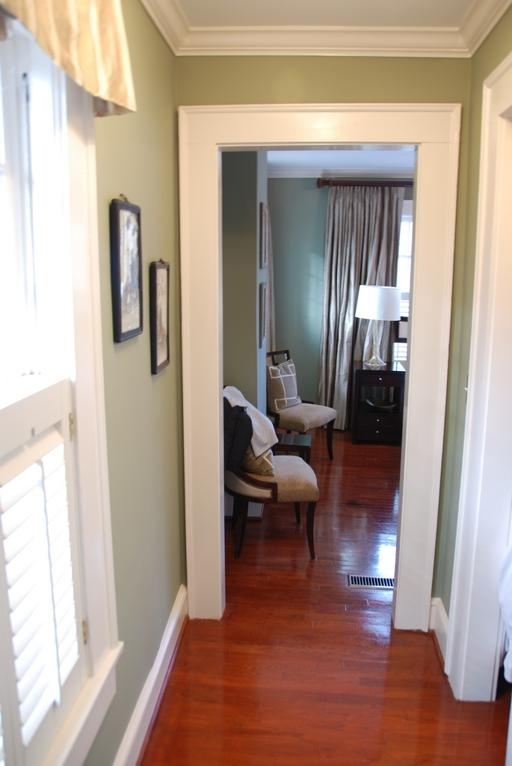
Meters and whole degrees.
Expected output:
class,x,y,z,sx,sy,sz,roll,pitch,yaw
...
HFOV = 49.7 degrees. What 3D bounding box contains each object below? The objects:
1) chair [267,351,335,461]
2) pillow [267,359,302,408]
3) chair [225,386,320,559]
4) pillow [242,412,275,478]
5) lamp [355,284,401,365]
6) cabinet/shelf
class,x,y,z,sx,sy,sz,roll,pitch,yaw
chair,0.359,0.218,4.805,0.460,1.079,0.570,-9,2,-32
pillow,0.270,0.053,4.908,0.315,0.440,0.125,-9,-6,-38
chair,0.099,0.478,3.364,0.552,1.257,0.771,-1,10,1
pillow,0.028,0.358,3.004,0.185,0.313,0.137,-3,7,-25
lamp,1.153,-0.571,5.269,0.443,0.509,0.567,2,8,6
cabinet/shelf,1.172,0.476,5.269,0.475,0.618,0.971,-1,45,18
